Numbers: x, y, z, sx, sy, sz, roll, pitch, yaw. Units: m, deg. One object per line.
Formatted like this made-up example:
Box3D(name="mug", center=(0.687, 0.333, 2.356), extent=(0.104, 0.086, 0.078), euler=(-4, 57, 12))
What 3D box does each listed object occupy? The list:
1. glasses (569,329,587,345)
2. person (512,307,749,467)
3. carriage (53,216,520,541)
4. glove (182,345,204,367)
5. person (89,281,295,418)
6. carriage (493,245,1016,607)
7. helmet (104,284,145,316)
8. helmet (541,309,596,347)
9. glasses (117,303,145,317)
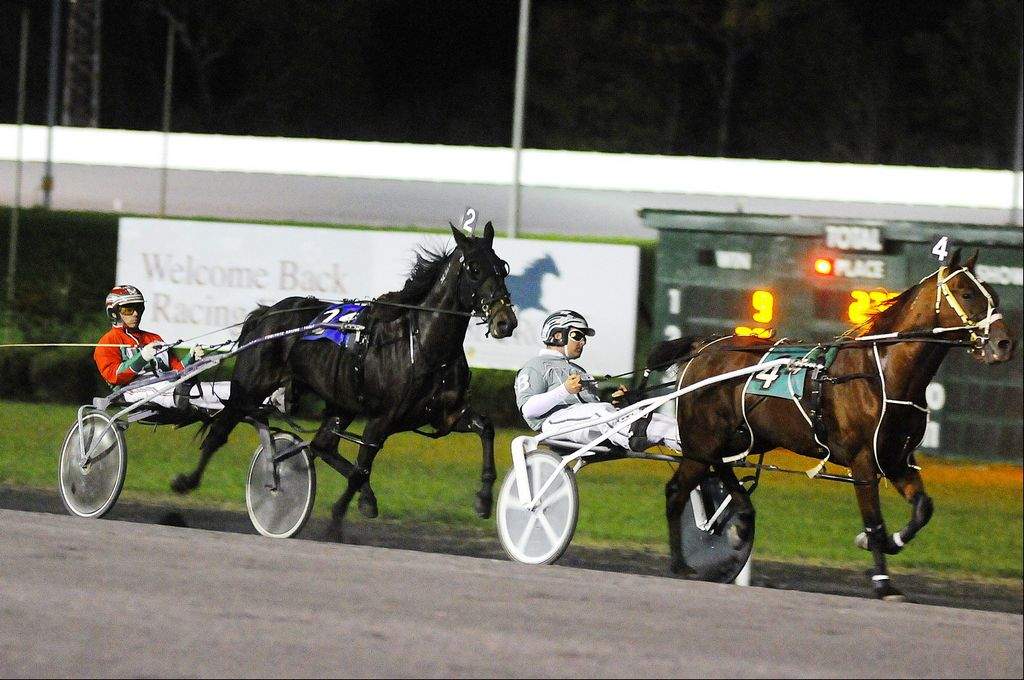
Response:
Box3D(name="glasses", center=(0.523, -0.032, 13.913), extent=(0.105, 0.045, 0.103), euler=(-34, -24, 29))
Box3D(name="person", center=(0.767, 0.315, 13.833), extent=(1.390, 0.993, 0.749), euler=(7, 4, 30))
Box3D(name="carriage", center=(-1.701, 0.430, 14.954), extent=(4.119, 2.396, 1.368), euler=(0, -5, 26))
Box3D(name="glove", center=(-2.601, 0.139, 14.750), extent=(0.196, 0.145, 0.065), euler=(-36, -44, 17))
Box3D(name="person", center=(-2.712, 0.126, 15.068), extent=(1.707, 0.956, 0.777), euler=(10, 7, 12))
Box3D(name="carriage", center=(1.624, 0.682, 14.456), extent=(4.721, 2.812, 1.960), euler=(-2, -6, 35))
Box3D(name="helmet", center=(-3.284, -0.352, 15.142), extent=(0.245, 0.251, 0.316), euler=(-1, 4, -41))
Box3D(name="helmet", center=(0.450, -0.105, 14.037), extent=(0.352, 0.256, 0.269), euler=(1, -4, 25))
Box3D(name="glasses", center=(-3.224, -0.250, 15.078), extent=(0.148, 0.079, 0.114), euler=(-5, -5, 31))
